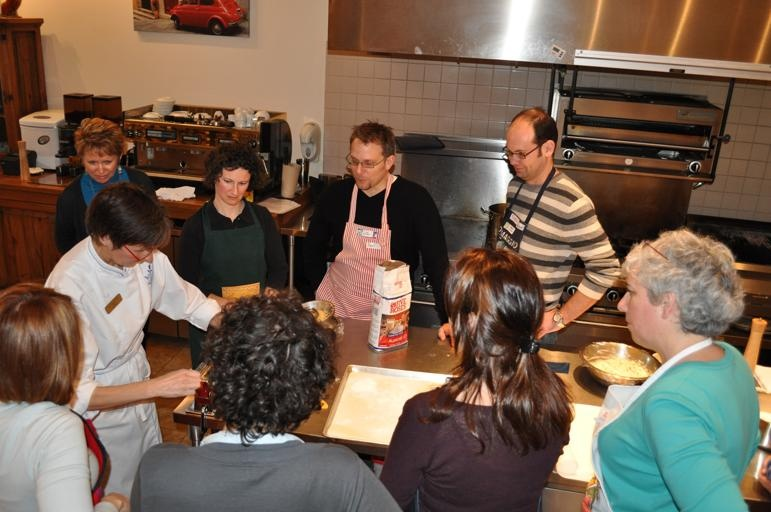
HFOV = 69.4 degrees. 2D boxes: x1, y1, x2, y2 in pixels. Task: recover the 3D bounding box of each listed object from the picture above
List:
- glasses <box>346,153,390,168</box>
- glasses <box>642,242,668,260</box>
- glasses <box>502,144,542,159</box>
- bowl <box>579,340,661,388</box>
[{"bbox_3d":[-0.069,-0.499,2.981,0.233,0.085,0.110,-1,19,-11],"label":"glasses"},{"bbox_3d":[0.857,-0.021,1.785,0.014,0.013,0.103,21,22,-34],"label":"glasses"},{"bbox_3d":[0.682,-0.521,2.763,0.199,0.057,0.191,-19,23,-38],"label":"glasses"},{"bbox_3d":[0.991,0.468,2.341,0.307,0.087,0.306,4,19,-1],"label":"bowl"}]
